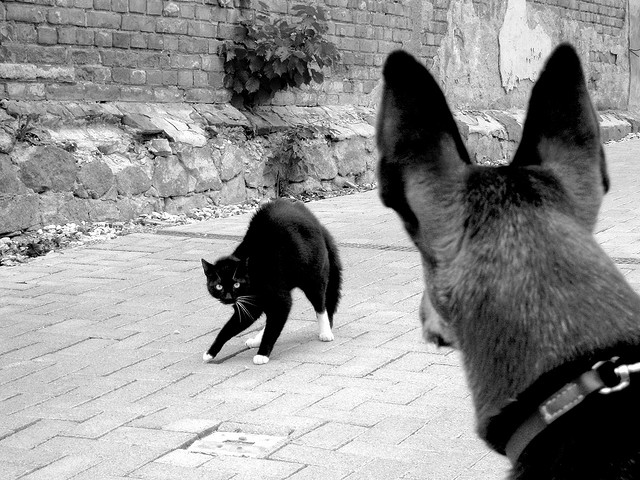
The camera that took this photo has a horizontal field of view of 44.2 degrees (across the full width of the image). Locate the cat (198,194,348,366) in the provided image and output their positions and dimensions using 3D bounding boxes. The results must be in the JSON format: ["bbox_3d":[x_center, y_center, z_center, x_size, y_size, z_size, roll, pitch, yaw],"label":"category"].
[{"bbox_3d":[-0.311,0.262,5.403,0.531,0.968,1.485,-2,7,31],"label":"cat"}]

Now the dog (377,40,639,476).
[{"bbox_3d":[0.473,0.045,2.043,0.656,1.069,0.479,1,14,6],"label":"dog"}]
